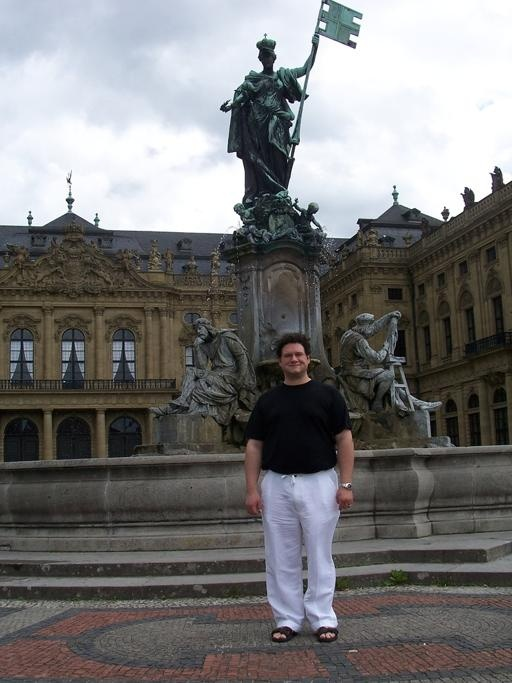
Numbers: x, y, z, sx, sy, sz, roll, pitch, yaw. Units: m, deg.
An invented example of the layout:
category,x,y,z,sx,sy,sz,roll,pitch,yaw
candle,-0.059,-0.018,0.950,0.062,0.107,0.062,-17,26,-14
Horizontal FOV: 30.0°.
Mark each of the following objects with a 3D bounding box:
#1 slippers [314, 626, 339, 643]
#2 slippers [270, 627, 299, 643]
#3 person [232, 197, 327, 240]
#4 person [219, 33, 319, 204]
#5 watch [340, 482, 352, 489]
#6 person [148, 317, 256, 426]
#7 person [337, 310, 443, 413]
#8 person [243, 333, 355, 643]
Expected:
category,x,y,z,sx,sy,sz,roll,pitch,yaw
slippers,0.381,1.567,5.081,0.113,0.068,0.124,1,-2,1
slippers,0.152,1.585,5.139,0.122,0.071,0.184,1,-2,13
person,0.334,-1.883,14.535,1.319,0.891,0.860,1,-1,-2
person,0.147,-3.540,15.128,1.221,2.642,0.575,1,-1,0
watch,0.494,0.783,5.122,0.042,0.023,0.037,-11,-18,40
person,-0.575,0.423,12.495,1.106,1.399,0.668,2,-2,-35
person,1.758,0.295,13.272,1.148,1.425,0.948,1,-1,4
person,0.233,0.789,5.233,0.588,1.667,0.365,1,-1,4
